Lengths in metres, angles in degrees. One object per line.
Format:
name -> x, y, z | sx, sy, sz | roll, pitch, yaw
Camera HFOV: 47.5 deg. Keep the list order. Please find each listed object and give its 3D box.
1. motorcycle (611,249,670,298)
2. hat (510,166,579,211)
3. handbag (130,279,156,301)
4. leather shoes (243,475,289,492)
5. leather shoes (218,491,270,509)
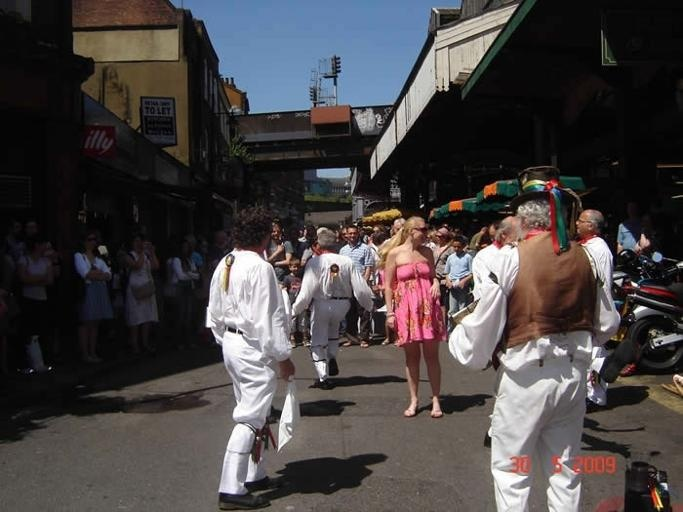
motorcycle -> 4.303, 0.227, 11.055 | 0.860, 0.630, 0.580 | -1, -1, 18
hat -> 2.045, -0.784, 8.164 | 0.689, 0.335, 0.795 | 7, 5, -18
handbag -> -3.360, 0.565, 13.034 | 0.310, 0.284, 0.072 | -7, -11, -38
leather shoes -> -0.782, 2.361, 8.011 | 0.421, 0.188, 0.149 | -2, 1, -17
leather shoes -> -0.979, 2.413, 7.824 | 0.488, 0.231, 0.191 | 1, -2, -13
